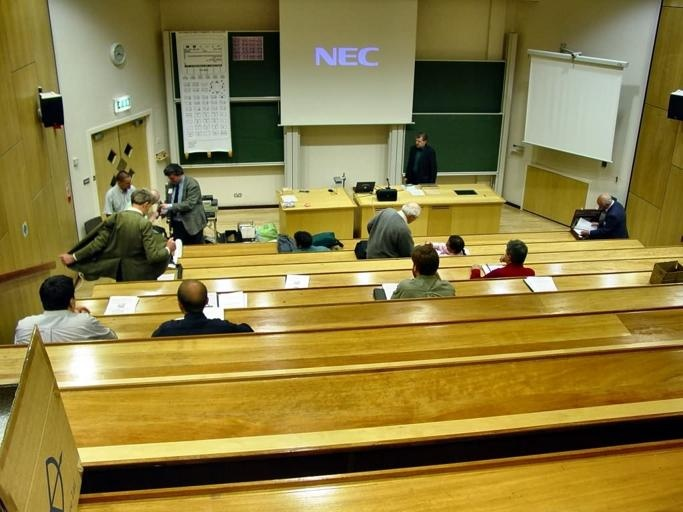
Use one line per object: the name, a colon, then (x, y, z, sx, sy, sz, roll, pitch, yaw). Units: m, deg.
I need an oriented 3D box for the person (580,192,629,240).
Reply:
person: (3.367, -0.499, 6.364, 0.415, 0.757, 0.359, 6, 56, 32)

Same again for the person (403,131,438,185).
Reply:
person: (1.265, -1.557, 8.003, 0.469, 0.796, 0.470, 0, 13, 6)

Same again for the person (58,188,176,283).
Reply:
person: (-2.036, 0.059, 4.652, 0.925, 1.252, 0.414, 1, 26, -17)

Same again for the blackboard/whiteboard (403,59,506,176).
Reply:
blackboard/whiteboard: (1.963, -2.567, 8.918, 2.243, 2.641, 0.103, -3, 26, -4)
